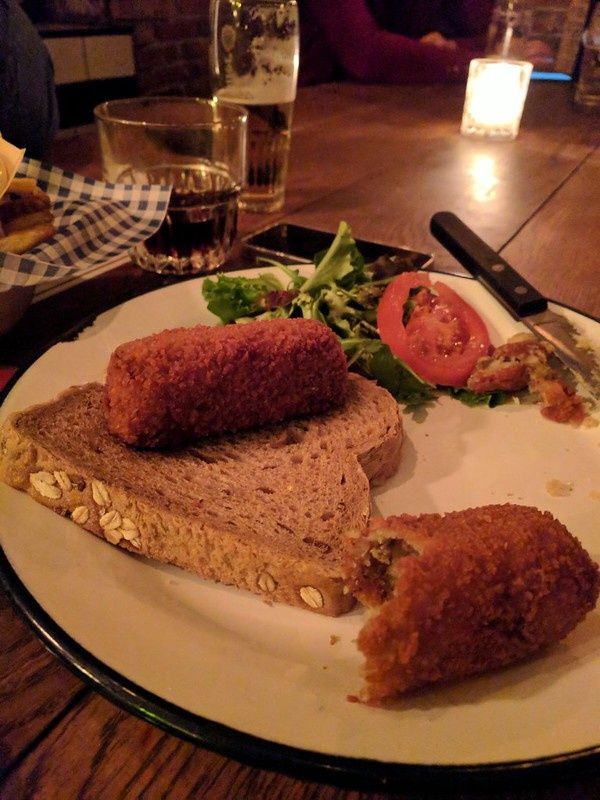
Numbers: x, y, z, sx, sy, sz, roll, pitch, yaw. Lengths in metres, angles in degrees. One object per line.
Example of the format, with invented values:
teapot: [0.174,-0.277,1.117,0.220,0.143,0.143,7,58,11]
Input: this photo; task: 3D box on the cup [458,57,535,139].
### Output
cup: [0.964,-1.517,3.689,0.377,0.359,0.360,6,19,-2]
